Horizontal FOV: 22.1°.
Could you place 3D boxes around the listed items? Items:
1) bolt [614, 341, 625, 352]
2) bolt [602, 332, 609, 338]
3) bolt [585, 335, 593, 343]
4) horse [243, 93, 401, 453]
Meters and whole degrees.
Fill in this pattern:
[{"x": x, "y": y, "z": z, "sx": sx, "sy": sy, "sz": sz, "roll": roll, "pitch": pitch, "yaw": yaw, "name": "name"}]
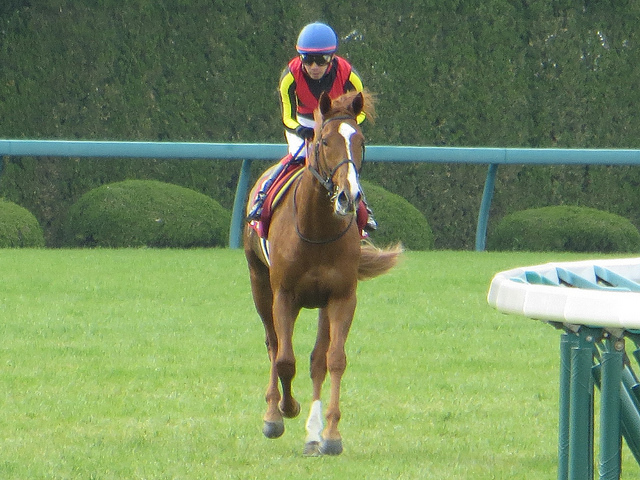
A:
[{"x": 2.449, "y": 0.870, "z": 13.490, "sx": 0.068, "sy": 0.090, "sz": 0.026, "roll": 0, "pitch": -1, "yaw": -2, "name": "bolt"}, {"x": 2.343, "y": 0.777, "z": 13.505, "sx": 0.043, "sy": 0.041, "sz": 0.012, "roll": 9, "pitch": 17, "yaw": 6, "name": "bolt"}, {"x": 2.212, "y": 0.810, "z": 13.518, "sx": 0.062, "sy": 0.058, "sz": 0.018, "roll": 3, "pitch": 17, "yaw": -9, "name": "bolt"}, {"x": -0.107, "y": 0.180, "z": 15.624, "sx": 1.299, "sy": 3.112, "sz": 1.086, "roll": 12, "pitch": 18, "yaw": 21, "name": "horse"}]
